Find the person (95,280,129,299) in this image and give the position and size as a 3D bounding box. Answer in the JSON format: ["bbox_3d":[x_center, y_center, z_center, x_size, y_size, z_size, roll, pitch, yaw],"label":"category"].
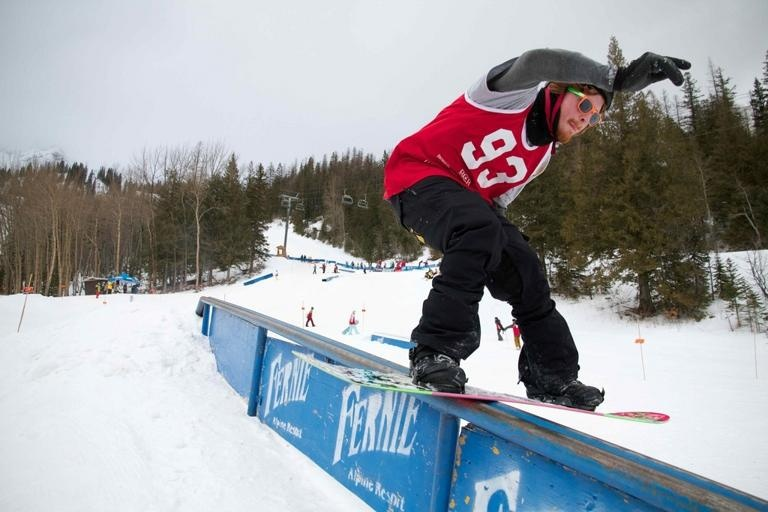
[{"bbox_3d":[-14.738,1.746,29.003,1.106,0.701,1.174,2,2,8],"label":"person"}]

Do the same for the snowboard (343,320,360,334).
[{"bbox_3d":[-1.133,2.487,18.733,0.413,0.489,0.421,9,-14,-34],"label":"snowboard"}]
